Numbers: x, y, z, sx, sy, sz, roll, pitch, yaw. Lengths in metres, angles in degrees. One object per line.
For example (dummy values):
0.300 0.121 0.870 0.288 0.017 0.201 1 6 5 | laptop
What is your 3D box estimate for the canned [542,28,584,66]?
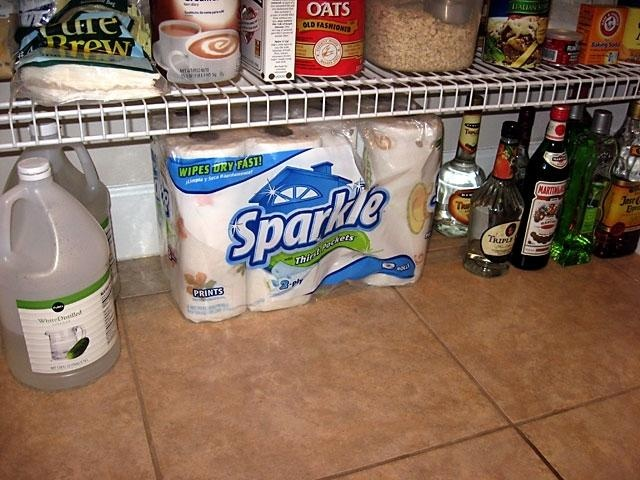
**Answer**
0.496 -0.393 1.092 0.084 0.057 0.080 4 34 3 | canned
